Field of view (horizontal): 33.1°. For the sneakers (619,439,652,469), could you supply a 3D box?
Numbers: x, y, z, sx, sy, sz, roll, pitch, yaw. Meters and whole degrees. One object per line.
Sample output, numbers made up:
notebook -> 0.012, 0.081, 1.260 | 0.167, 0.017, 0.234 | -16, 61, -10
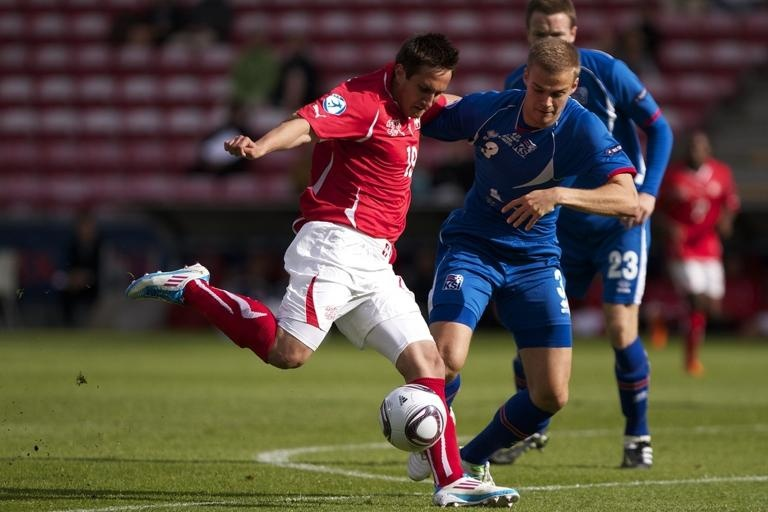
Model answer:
sneakers -> 2.673, 2.105, 13.771 | 0.173, 0.206, 0.490 | 3, -16, -9
